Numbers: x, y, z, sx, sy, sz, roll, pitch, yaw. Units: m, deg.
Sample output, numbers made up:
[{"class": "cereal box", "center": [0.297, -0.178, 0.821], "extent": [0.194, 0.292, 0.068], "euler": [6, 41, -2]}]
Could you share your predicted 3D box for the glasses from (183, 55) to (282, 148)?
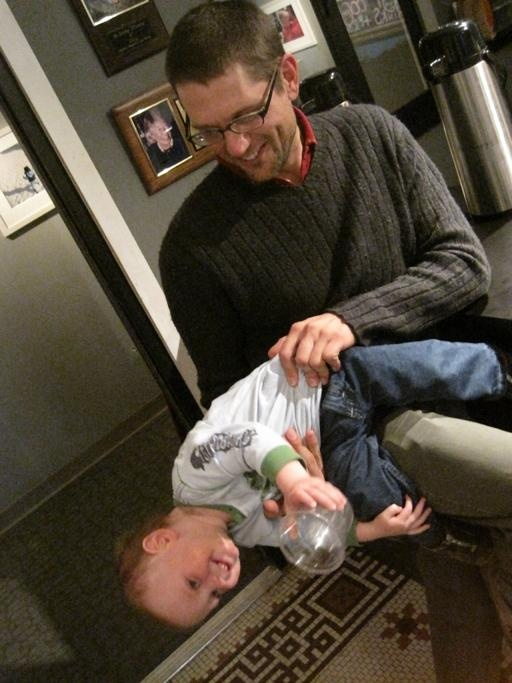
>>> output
[{"class": "glasses", "center": [-0.024, -0.413, 1.035], "extent": [0.159, 0.048, 0.163], "euler": [3, 51, 46]}]

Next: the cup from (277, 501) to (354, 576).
[{"class": "cup", "center": [0.092, 0.312, 0.941], "extent": [0.124, 0.118, 0.083], "euler": [-15, 41, 11]}]
